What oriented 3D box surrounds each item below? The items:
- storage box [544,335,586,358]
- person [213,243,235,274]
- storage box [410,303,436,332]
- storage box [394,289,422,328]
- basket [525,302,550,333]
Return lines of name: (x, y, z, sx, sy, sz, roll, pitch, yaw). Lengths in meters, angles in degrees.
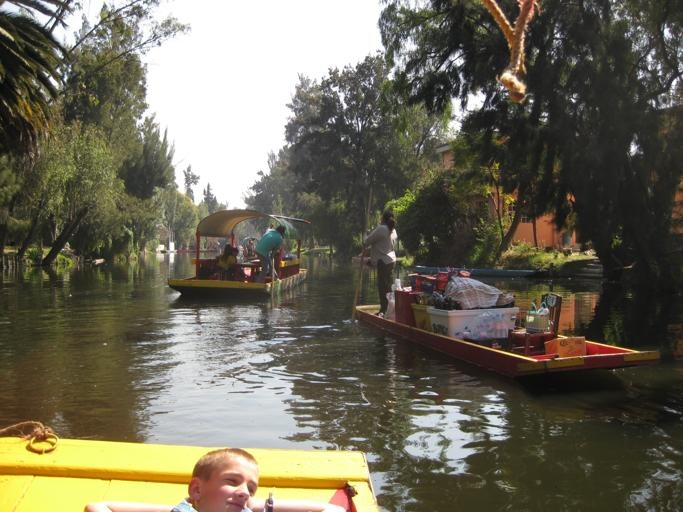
storage box: (3.847, 1.565, 11.903, 0.390, 0.318, 0.444, -1, 0, -7)
person: (-3.994, 0.067, 23.556, 0.721, 1.048, 0.623, 3, -3, -22)
storage box: (1.671, 1.261, 14.188, 0.295, 0.382, 0.480, -2, -5, -12)
storage box: (1.459, 1.114, 15.050, 0.482, 0.803, 0.961, -1, -2, -4)
basket: (3.570, 1.145, 12.444, 0.326, 0.644, 0.577, -1, 2, -14)
